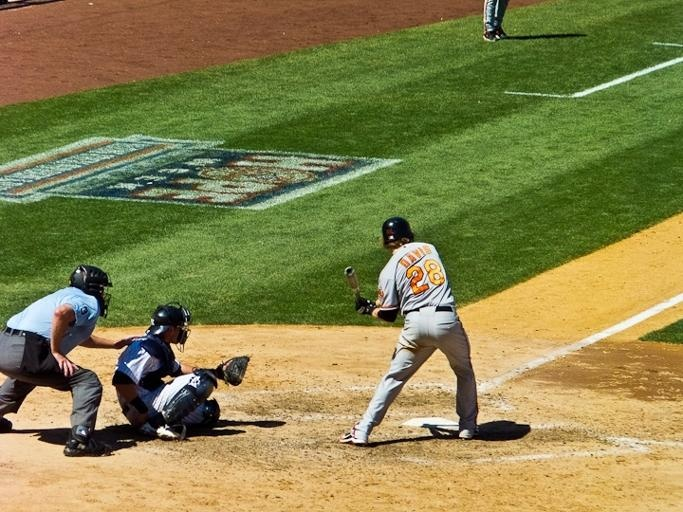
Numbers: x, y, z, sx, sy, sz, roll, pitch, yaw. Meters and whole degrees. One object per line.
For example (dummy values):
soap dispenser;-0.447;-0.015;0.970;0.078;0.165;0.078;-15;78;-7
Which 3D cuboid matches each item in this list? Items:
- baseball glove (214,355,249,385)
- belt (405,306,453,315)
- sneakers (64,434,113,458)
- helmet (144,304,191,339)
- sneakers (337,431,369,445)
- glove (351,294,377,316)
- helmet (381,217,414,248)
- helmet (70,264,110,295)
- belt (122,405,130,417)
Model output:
baseball glove;-1.239;1.281;15.609;0.427;0.270;0.374;10;-1;35
belt;0.963;0.588;15.006;0.565;0.125;0.130;0;15;7
sneakers;-2.778;2.025;14.598;0.567;0.198;0.197;0;15;-16
helmet;-1.932;0.698;15.375;0.499;0.248;0.340;-12;21;-27
sneakers;0.141;2.018;15.235;0.327;0.116;0.137;6;6;21
glove;0.281;0.589;16.562;0.512;0.128;0.129;12;49;14
helmet;0.611;-0.309;15.408;0.337;0.327;0.388;5;25;45
helmet;-2.812;0.249;15.043;0.421;0.321;0.313;-12;33;-37
belt;-2.444;1.733;15.257;0.113;0.110;0.091;1;2;-13
